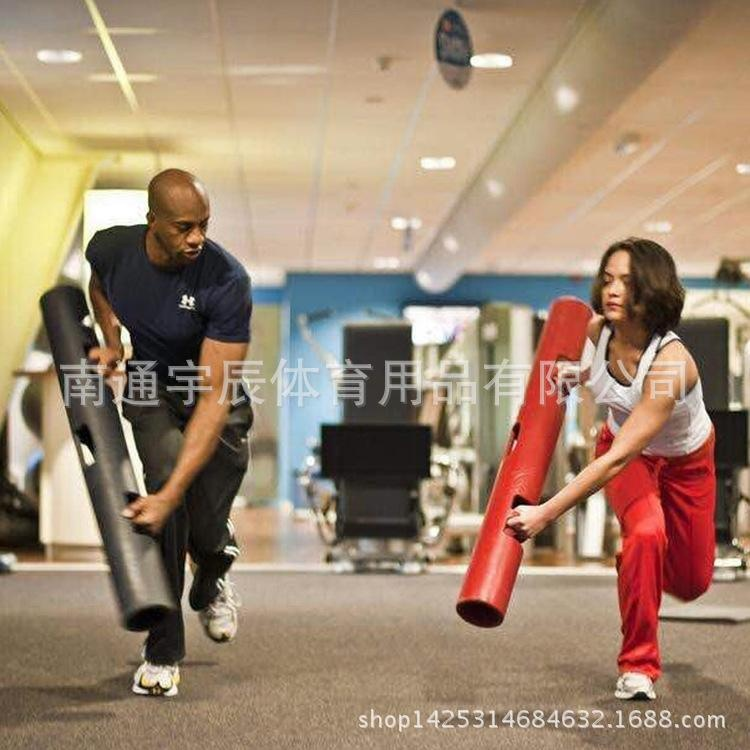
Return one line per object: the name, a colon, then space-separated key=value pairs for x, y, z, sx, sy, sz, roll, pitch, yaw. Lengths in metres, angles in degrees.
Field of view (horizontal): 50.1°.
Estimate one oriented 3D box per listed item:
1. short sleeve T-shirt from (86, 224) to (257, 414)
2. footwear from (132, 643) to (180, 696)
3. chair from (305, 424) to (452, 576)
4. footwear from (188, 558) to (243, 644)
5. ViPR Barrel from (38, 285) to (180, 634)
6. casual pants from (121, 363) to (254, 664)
short sleeve T-shirt: x=-0.444 y=-0.117 z=1.609 sx=0.339 sy=0.327 sz=0.161 roll=20 pitch=34 yaw=-5
footwear: x=-0.393 y=0.535 z=1.433 sx=0.087 sy=0.078 sz=0.084 roll=1 pitch=4 yaw=-8
chair: x=0.003 y=0.403 z=2.588 sx=0.455 sy=0.640 sz=0.465 roll=1 pitch=-13 yaw=-2
footwear: x=-0.331 y=0.462 z=1.645 sx=0.066 sy=0.200 sz=0.085 roll=-1 pitch=4 yaw=21
ViPR Barrel: x=-0.552 y=0.052 z=1.520 sx=0.170 sy=0.972 sz=0.170 roll=-15 pitch=-31 yaw=-9
casual pants: x=-0.338 y=0.236 z=1.519 sx=0.172 sy=0.663 sz=0.220 roll=0 pitch=-7 yaw=-4
